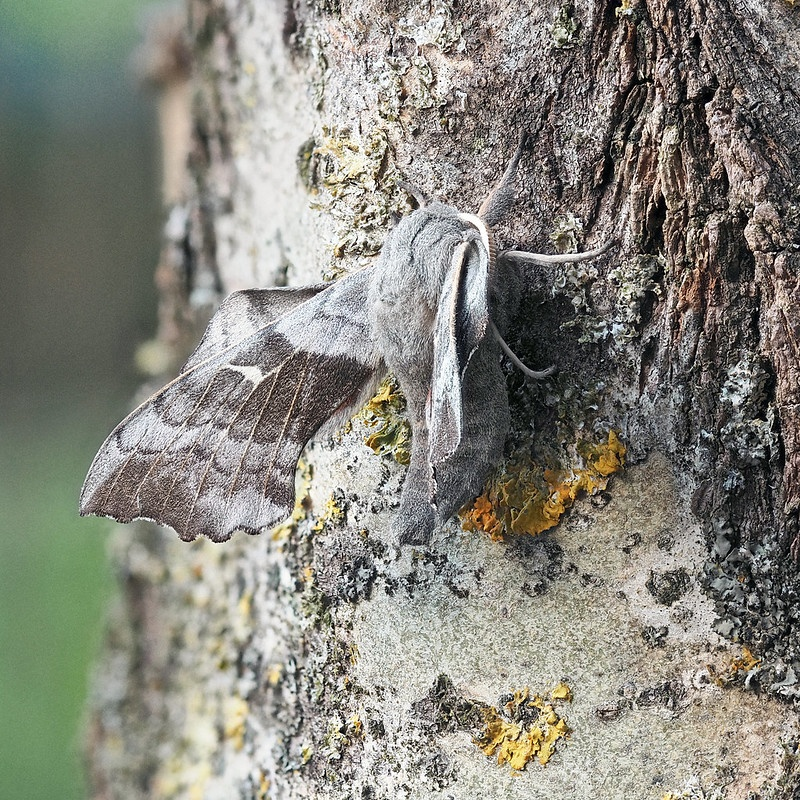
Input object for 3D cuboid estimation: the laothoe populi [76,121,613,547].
[{"bbox_3d":[-0.078,0.075,2.101,0.512,0.198,0.625,7,76,47],"label":"laothoe populi"}]
